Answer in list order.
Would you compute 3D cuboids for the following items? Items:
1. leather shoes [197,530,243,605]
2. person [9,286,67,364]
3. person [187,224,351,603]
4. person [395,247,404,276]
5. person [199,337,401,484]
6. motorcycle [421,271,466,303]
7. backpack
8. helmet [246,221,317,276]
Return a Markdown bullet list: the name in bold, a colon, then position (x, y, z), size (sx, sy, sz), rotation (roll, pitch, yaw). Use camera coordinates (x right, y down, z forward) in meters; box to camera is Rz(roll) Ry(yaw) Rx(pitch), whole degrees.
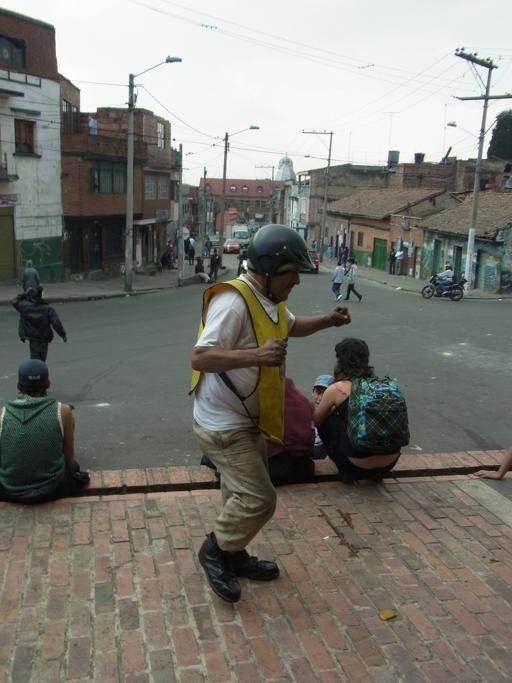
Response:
- **leather shoes**: position (-0.164, 1.138, 2.770), size (0.127, 0.162, 0.361), rotation (15, 21, -48)
- **person**: position (-3.543, -0.296, 8.898), size (0.762, 1.187, 0.343), rotation (0, 9, -15)
- **person**: position (0.017, 0.346, 2.683), size (0.690, 1.851, 0.938), rotation (5, 9, 12)
- **person**: position (10.027, -5.639, 38.024), size (0.608, 1.907, 1.025), rotation (5, 9, 13)
- **person**: position (0.231, 0.483, 4.599), size (0.989, 1.424, 2.050), rotation (-1, -31, -5)
- **motorcycle**: position (8.724, -2.526, 24.683), size (2.138, 1.272, 1.109), rotation (7, 4, 27)
- **backpack**: position (0.894, 0.517, 4.095), size (0.434, 0.524, 0.551), rotation (1, 2, -7)
- **helmet**: position (0.121, -0.447, 2.588), size (0.340, 0.223, 0.269), rotation (-2, 30, -15)
